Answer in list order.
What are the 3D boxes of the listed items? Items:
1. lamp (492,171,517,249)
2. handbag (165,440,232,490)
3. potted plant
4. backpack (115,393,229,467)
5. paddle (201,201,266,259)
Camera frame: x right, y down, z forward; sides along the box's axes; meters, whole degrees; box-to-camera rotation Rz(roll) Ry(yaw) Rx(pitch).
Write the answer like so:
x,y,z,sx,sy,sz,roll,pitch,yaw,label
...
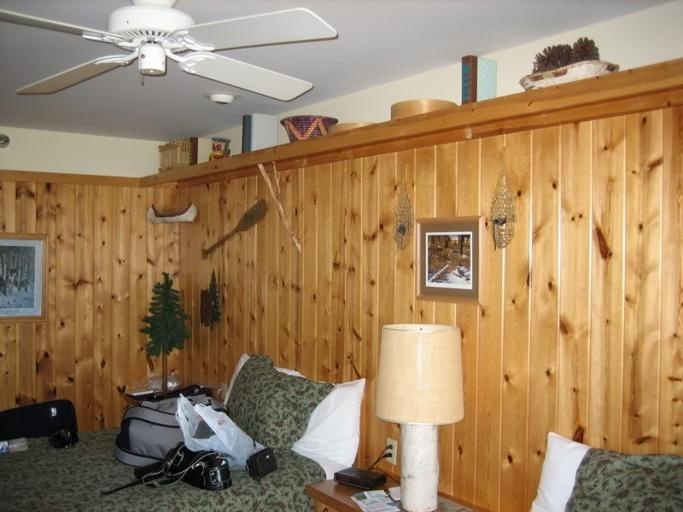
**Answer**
x,y,z,sx,sy,sz,roll,pitch,yaw,label
0.783,-0.215,2.710,0.120,0.364,0.070,1,11,41,lamp
-0.727,1.061,2.847,0.279,0.137,0.188,3,0,24,handbag
0.995,-0.833,2.425,0.393,0.182,0.137,0,-4,44,potted plant
-1.020,0.968,3.194,0.441,0.195,0.312,-4,4,-43,backpack
-0.890,-0.152,4.371,0.963,0.231,0.045,-34,2,36,paddle
